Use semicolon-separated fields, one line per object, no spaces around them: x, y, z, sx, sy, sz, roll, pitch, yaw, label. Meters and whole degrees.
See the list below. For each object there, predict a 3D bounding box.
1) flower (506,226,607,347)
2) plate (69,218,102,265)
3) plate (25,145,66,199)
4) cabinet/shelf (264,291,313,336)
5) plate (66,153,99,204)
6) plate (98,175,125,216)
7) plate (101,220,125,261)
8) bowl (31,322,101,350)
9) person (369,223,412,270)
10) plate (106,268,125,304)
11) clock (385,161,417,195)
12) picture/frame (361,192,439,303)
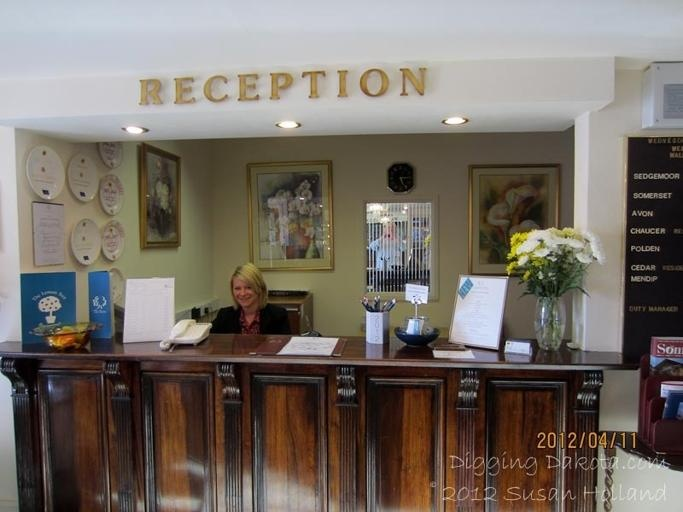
1.377;0.214;4.251;0.689;1.010;0.727;0;0;-5;flower
-1.989;-0.107;4.828;0.044;0.363;0.291;0;1;22;plate
-2.158;-0.615;4.518;0.069;0.330;0.303;-2;0;22;plate
-0.570;0.556;6.605;0.606;0.512;0.387;-1;-3;2;cabinet/shelf
-2.003;-0.598;4.799;0.049;0.366;0.294;0;1;22;plate
-1.891;-0.500;5.090;0.068;0.339;0.299;0;0;10;plate
-1.889;-0.124;5.107;0.050;0.341;0.287;0;1;14;plate
-1.863;0.545;4.266;0.247;0.096;0.237;-2;4;0;bowl
0.575;-0.131;7.062;0.446;0.949;0.264;-1;2;-3;person
-1.858;0.250;5.154;0.062;0.290;0.261;2;-2;12;plate
0.681;-0.878;6.981;0.333;0.415;0.040;0;3;9;clock
0.670;-0.148;6.871;1.104;1.668;0.062;1;4;7;picture/frame
